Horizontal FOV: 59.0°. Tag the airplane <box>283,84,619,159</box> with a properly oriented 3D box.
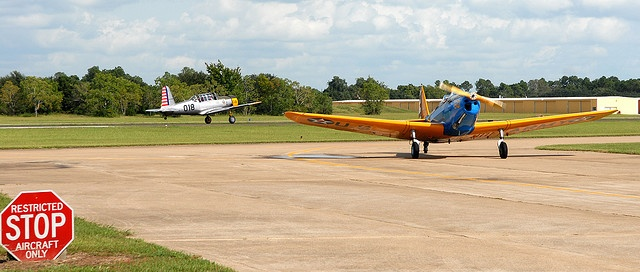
[{"bbox_3d":[8.624,-0.893,39.972,20.102,4.960,4.852,1,1,5],"label":"airplane"}]
